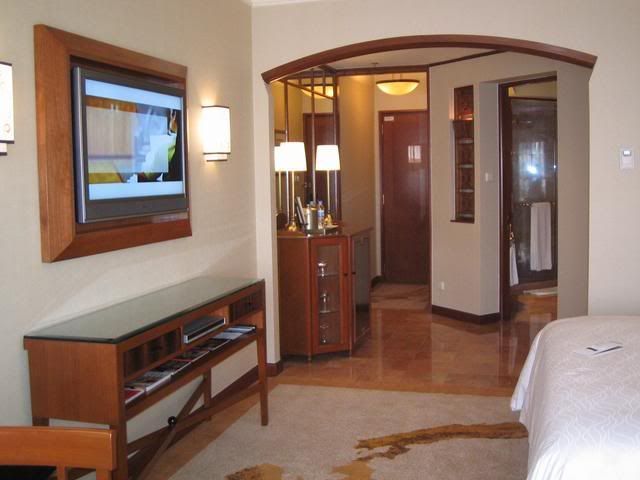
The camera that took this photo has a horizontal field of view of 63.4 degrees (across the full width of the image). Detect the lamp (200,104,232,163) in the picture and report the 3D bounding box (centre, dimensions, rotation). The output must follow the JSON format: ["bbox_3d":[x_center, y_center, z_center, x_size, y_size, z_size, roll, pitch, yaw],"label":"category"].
[{"bbox_3d":[-0.776,-0.808,3.955,0.153,0.416,0.275,0,7,20],"label":"lamp"}]

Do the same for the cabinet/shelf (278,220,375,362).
[{"bbox_3d":[-0.045,0.140,5.373,0.982,1.652,1.748,0,6,14],"label":"cabinet/shelf"}]

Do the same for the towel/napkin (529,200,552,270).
[{"bbox_3d":[3.416,-0.047,7.991,0.412,1.043,0.110,-4,6,-17],"label":"towel/napkin"}]

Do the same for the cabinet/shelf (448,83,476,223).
[{"bbox_3d":[1.709,-1.021,6.180,0.089,1.591,0.326,-6,7,-36],"label":"cabinet/shelf"}]

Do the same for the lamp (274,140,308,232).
[{"bbox_3d":[-0.278,-0.532,5.104,0.266,0.855,0.628,-1,6,4],"label":"lamp"}]

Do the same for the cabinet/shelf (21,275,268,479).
[{"bbox_3d":[-0.898,0.691,2.975,0.555,0.659,1.326,1,7,25],"label":"cabinet/shelf"}]
